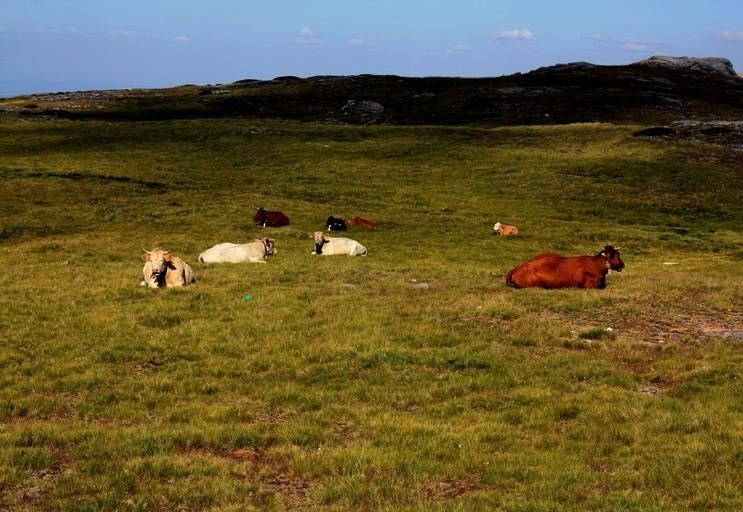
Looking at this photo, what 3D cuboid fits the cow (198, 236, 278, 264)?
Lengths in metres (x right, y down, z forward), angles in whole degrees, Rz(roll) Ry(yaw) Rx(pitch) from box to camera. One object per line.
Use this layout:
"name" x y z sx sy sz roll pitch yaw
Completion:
"cow" -5.972 -0.258 40.493 3.514 1.252 1.164 -3 8 -23

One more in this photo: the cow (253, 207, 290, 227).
"cow" -5.381 -2.043 47.930 1.937 0.923 1.581 -1 14 -15

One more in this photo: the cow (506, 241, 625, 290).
"cow" 8.164 0.422 37.204 5.514 2.233 1.827 0 4 -2

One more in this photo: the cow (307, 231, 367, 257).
"cow" -1.640 -0.511 43.878 3.113 1.198 1.136 4 -6 -8

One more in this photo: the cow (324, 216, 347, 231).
"cow" -1.907 -1.693 47.966 1.119 0.644 1.090 5 14 11

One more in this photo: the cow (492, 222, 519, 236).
"cow" 7.345 -1.451 48.550 1.431 0.703 0.630 9 1 13
